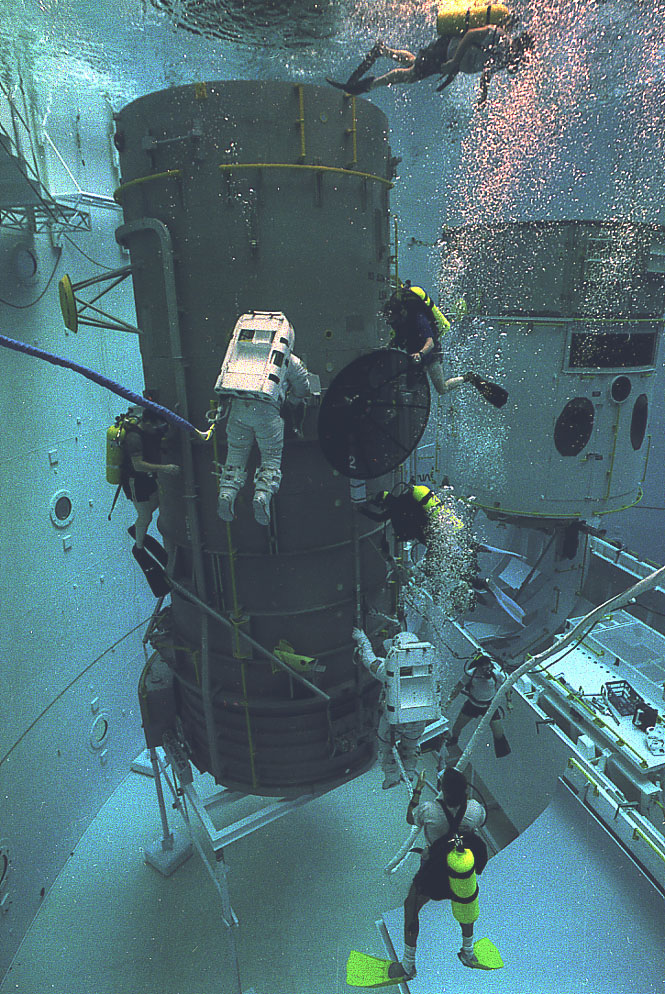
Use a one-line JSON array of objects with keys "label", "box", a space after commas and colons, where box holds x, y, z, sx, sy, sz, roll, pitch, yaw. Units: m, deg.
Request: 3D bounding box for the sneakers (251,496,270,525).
[{"label": "sneakers", "box": [-0.697, 0.167, 7.873, 0.146, 0.149, 0.358, 0, -55, 4]}]

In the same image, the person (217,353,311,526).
[{"label": "person", "box": [-0.721, -0.534, 8.220, 0.810, 0.559, 1.855, 6, -96, 8]}]

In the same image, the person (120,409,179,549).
[{"label": "person", "box": [-2.127, -0.245, 9.600, 0.810, 0.718, 2.157, 6, -27, -8]}]

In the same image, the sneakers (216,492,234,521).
[{"label": "sneakers", "box": [-1.035, 0.111, 8.017, 0.149, 0.124, 0.294, -2, -62, -8]}]
